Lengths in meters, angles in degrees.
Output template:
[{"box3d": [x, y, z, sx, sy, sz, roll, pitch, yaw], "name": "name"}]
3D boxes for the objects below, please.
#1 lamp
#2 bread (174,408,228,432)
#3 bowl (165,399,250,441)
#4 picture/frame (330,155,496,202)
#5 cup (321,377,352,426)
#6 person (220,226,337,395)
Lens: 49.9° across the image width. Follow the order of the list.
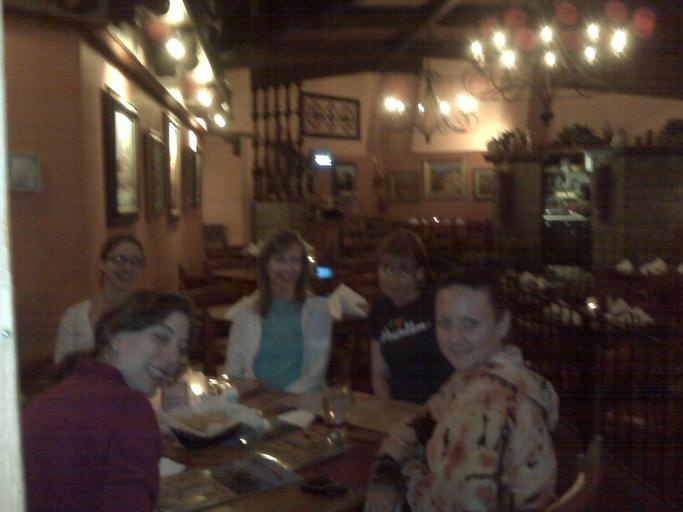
[{"box3d": [1.381, -1.423, 5.634, 1.386, 0.634, 1.471, -6, 4, -5], "name": "lamp"}, {"box3d": [-0.517, 0.608, 2.720, 0.110, 0.045, 0.105, -3, -4, 37], "name": "bread"}, {"box3d": [-0.516, 0.607, 2.719, 0.164, 0.066, 0.179, 1, 2, 0], "name": "bowl"}, {"box3d": [0.848, -1.061, 10.292, 1.805, 0.656, 0.350, -1, 4, 1], "name": "picture/frame"}, {"box3d": [-0.018, 0.575, 2.791, 0.110, 0.191, 0.107, 0, 3, 0], "name": "cup"}, {"box3d": [-0.296, 0.296, 3.858, 0.665, 1.217, 0.665, 2, -6, 0], "name": "person"}]
